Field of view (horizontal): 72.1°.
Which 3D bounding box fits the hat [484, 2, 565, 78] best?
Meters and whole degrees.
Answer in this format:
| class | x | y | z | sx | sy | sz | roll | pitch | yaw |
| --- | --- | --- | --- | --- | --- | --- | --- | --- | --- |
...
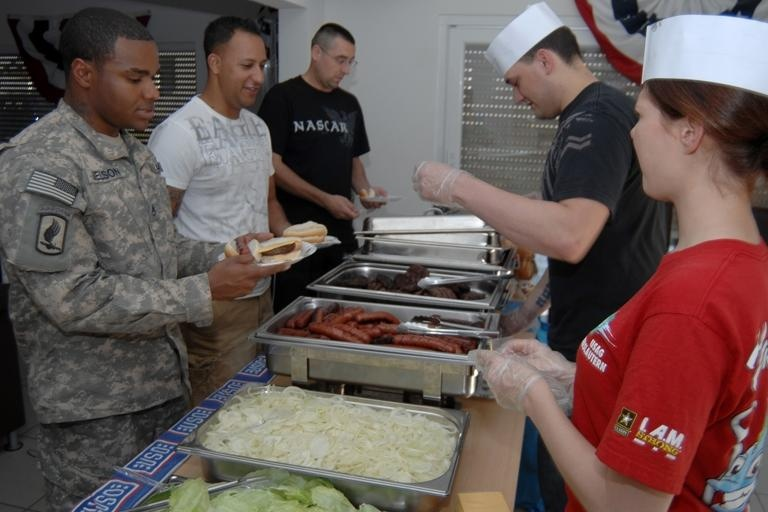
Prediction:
| class | x | y | z | sx | sy | sz | roll | pitch | yaw |
| --- | --- | --- | --- | --- | --- | --- | --- | --- | --- |
| hat | 0.669 | -0.919 | 2.396 | 0.186 | 0.358 | 0.307 | 45 | 24 | -4 |
